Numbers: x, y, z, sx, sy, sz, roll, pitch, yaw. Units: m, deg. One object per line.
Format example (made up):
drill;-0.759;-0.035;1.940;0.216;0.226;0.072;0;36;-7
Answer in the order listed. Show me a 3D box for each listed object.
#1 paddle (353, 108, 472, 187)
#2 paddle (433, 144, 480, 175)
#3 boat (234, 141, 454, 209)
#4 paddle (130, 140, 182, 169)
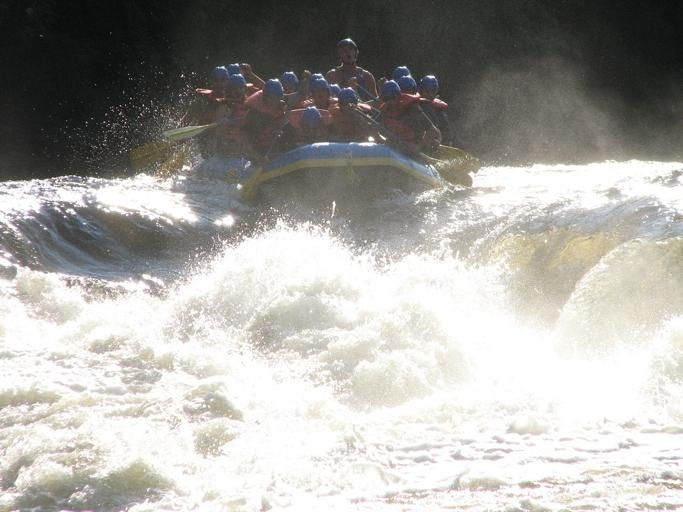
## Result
paddle;1.292;-1.574;14.433;2.414;0.398;0.831;28;-22;-37
paddle;1.754;-1.506;14.806;0.670;0.381;0.168;33;-62;23
boat;-0.025;-1.331;14.739;2.446;3.443;0.688;-2;-87;-8
paddle;-2.968;-1.636;14.962;0.671;0.653;0.358;-12;-65;6
